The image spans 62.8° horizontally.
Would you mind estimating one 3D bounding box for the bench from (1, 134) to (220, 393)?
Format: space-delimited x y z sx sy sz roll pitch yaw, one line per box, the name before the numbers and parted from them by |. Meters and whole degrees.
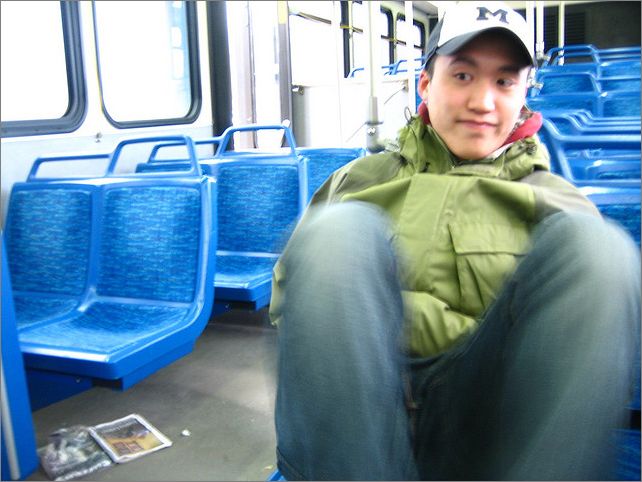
bench | -0.925 -0.025 2.338 0.853 0.867 1.360 -9 15 -30
